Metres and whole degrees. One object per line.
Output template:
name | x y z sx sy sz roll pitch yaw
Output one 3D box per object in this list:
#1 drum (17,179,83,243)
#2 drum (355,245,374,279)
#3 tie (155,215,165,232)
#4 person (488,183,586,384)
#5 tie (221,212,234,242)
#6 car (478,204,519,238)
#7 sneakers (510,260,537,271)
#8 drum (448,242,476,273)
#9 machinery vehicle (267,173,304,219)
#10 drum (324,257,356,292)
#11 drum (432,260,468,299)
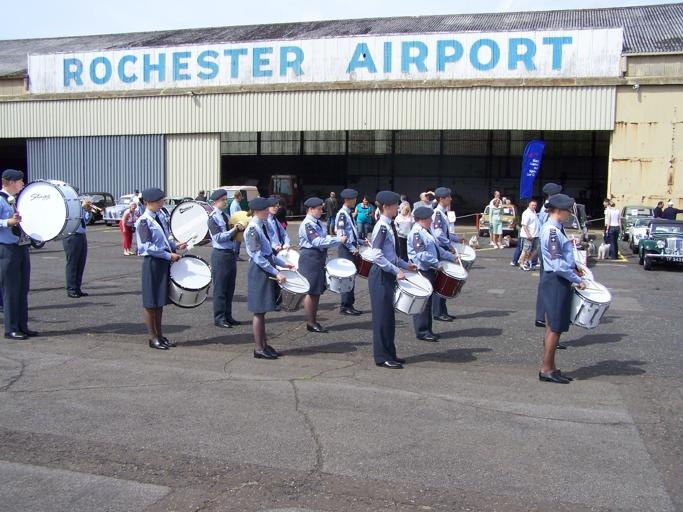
drum | -4.465 -0.674 11.489 0.816 0.915 0.488 -20 4 7
drum | 0.358 0.086 11.854 0.369 0.280 0.382 4 35 -3
tie | -2.489 -0.457 10.323 0.039 0.166 0.164 -17 20 -14
person | 2.636 0.377 9.113 0.487 2.191 0.600 3 10 13
tie | -1.692 -0.461 11.606 0.134 0.393 0.283 -11 15 -41
car | 5.464 -1.248 26.043 0.940 0.801 1.747 1 3 13
sneakers | 4.328 0.213 18.001 0.212 0.274 0.629 -5 3 -41
drum | 2.028 -0.010 12.343 0.446 0.488 0.469 3 42 -6
machinery vehicle | -2.896 -2.865 35.517 1.691 2.078 3.352 1 17 2
drum | -0.044 0.261 11.501 0.452 0.313 0.463 1 39 -1
drum | 1.544 0.347 11.004 0.513 0.396 0.536 17 49 -20
